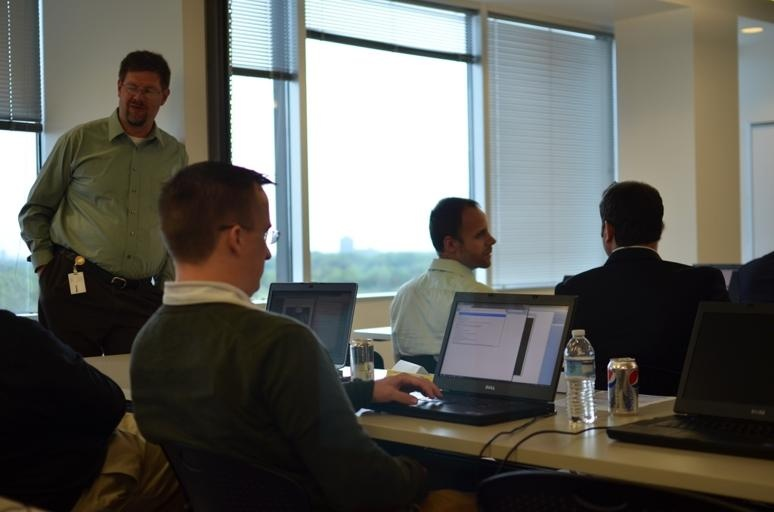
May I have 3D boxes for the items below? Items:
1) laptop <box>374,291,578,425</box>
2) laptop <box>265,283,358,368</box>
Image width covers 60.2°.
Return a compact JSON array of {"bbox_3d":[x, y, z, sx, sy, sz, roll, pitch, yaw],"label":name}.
[{"bbox_3d":[0.326,0.362,2.581,0.572,0.471,0.619,8,-8,-41],"label":"laptop"},{"bbox_3d":[-0.505,0.351,3.365,0.589,0.418,0.464,-2,-2,36],"label":"laptop"}]
